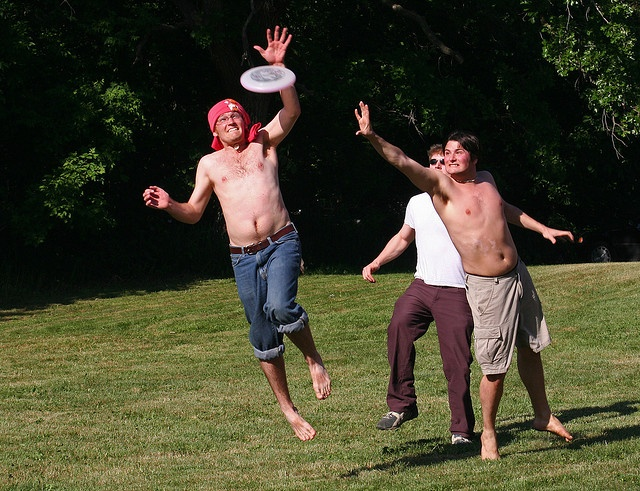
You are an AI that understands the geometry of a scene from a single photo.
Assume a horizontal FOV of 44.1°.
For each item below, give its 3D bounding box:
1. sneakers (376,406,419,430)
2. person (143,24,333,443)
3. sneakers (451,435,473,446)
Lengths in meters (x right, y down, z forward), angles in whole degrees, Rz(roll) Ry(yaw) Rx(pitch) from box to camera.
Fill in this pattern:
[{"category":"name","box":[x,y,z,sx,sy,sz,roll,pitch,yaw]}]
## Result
[{"category":"sneakers","box":[0.795,1.755,8.267,0.475,0.209,0.181,-10,17,-29]},{"category":"person","box":[-0.630,0.230,7.652,1.384,3.518,0.614,0,5,11]},{"category":"sneakers","box":[1.419,1.954,7.960,0.189,0.091,0.087,-2,-1,4]}]
